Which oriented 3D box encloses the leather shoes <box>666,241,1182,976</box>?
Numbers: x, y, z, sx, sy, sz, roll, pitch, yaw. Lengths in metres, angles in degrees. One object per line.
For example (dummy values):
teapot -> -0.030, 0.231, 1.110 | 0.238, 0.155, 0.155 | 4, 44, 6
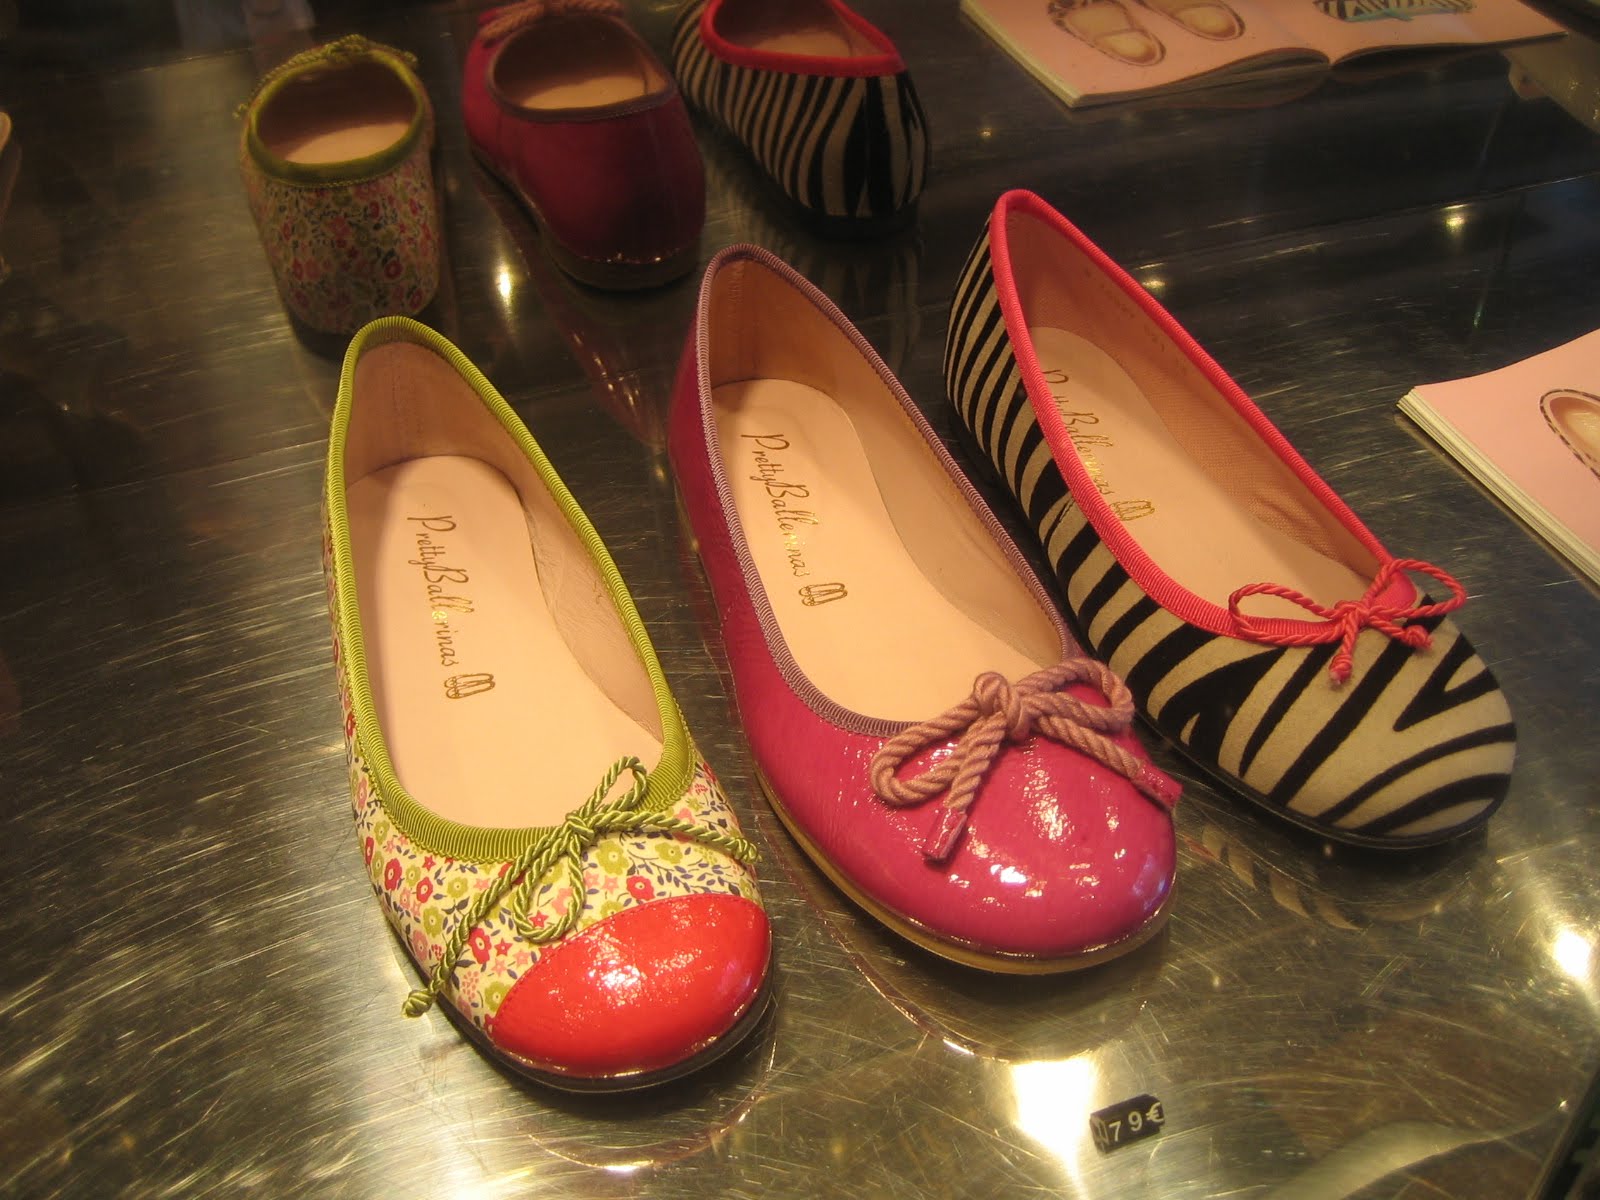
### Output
leather shoes -> 0.018, 0.011, 0.986 | 0.262, 0.164, 0.602 | -20, 53, -18
